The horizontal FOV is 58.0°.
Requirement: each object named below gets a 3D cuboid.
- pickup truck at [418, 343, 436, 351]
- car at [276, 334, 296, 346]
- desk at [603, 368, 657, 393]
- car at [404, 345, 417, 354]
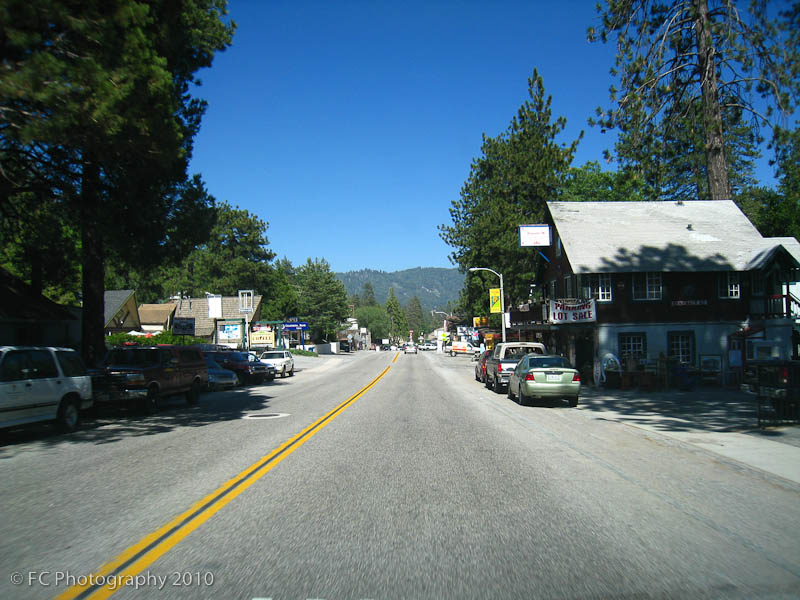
[{"bbox_3d":[5.006,8.937,136.114,2.319,1.015,1.591,2,-3,0],"label":"pickup truck"},{"bbox_3d":[-14.206,4.939,89.128,1.683,2.049,1.729,-1,4,-15],"label":"car"},{"bbox_3d":[10.037,3.508,31.489,1.378,0.834,0.893,1,5,7],"label":"desk"},{"bbox_3d":[1.478,7.436,108.117,0.997,1.039,1.935,0,-11,-2],"label":"car"}]
